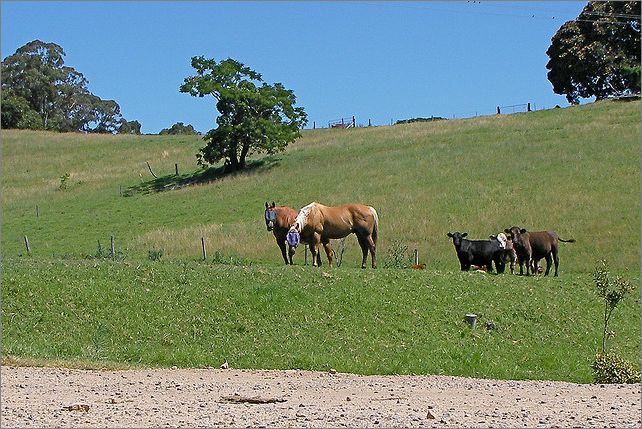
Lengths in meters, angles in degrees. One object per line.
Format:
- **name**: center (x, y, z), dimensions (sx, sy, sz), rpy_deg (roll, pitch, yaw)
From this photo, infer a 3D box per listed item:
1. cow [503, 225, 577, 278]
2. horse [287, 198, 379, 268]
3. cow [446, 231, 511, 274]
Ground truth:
- **cow**: center (15.895, 2.672, 79.221), dimensions (5.548, 3.384, 1.817), rpy_deg (3, 3, -27)
- **horse**: center (1.132, 1.440, 79.013), dimensions (6.076, 3.858, 1.095), rpy_deg (-6, 2, -14)
- **cow**: center (11.330, 2.842, 78.592), dimensions (3.844, 2.372, 1.436), rpy_deg (4, -4, -5)
